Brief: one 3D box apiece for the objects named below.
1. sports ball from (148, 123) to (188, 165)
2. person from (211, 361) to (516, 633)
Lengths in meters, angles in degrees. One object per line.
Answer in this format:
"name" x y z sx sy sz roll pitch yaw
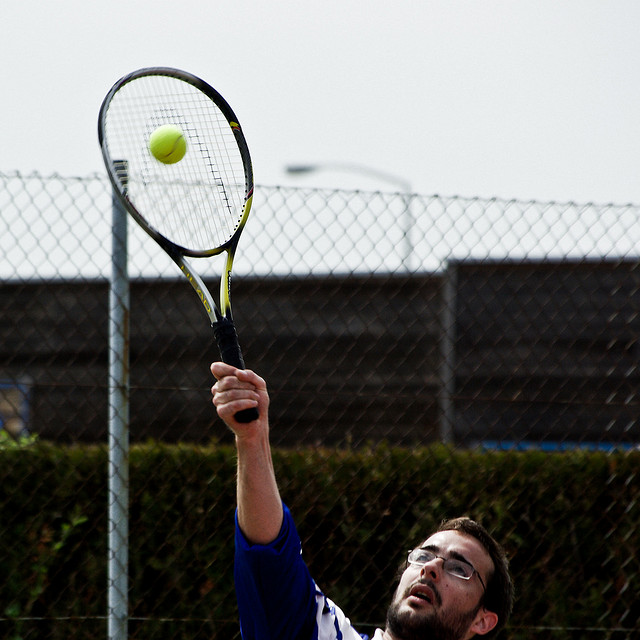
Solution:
"sports ball" -0.606 -0.702 4.898 0.170 0.171 0.188 4 -2 -14
"person" 0.100 0.806 4.721 1.538 0.787 0.465 21 -35 -38
